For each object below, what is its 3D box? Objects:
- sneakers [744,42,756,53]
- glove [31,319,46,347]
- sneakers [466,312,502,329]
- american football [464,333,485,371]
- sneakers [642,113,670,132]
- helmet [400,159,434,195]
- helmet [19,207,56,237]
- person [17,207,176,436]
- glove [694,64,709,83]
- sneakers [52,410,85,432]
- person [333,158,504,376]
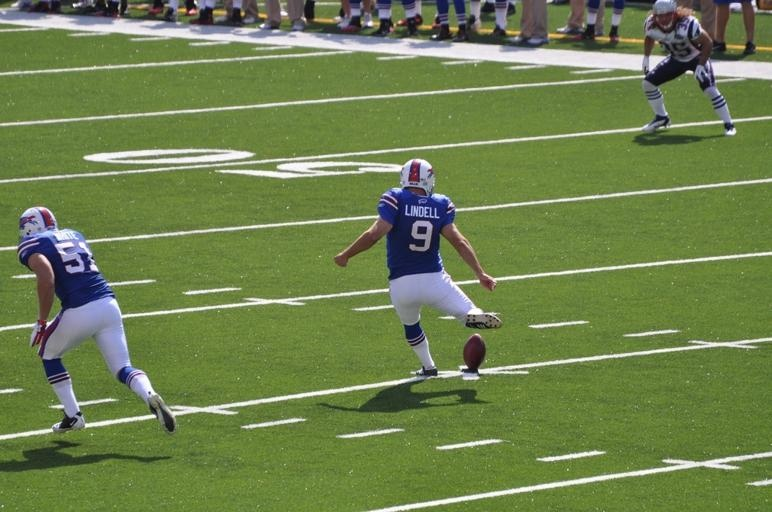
[{"bbox_3d":[6.886,-3.910,27.555,0.197,0.216,0.302,1,10,12],"label":"sneakers"},{"bbox_3d":[-3.544,0.780,14.796,0.182,0.256,0.089,15,3,1],"label":"glove"},{"bbox_3d":[1.046,0.676,15.391,0.437,0.136,0.165,3,8,13],"label":"sneakers"},{"bbox_3d":[0.945,1.029,15.718,0.275,0.359,0.242,4,6,-7],"label":"american football"},{"bbox_3d":[4.292,-2.082,23.060,0.535,0.208,0.183,-18,-7,-13],"label":"sneakers"},{"bbox_3d":[0.354,-0.874,15.799,0.327,0.296,0.408,6,14,10],"label":"helmet"},{"bbox_3d":[-3.623,-0.349,15.086,0.393,0.298,0.283,-1,-3,19],"label":"helmet"},{"bbox_3d":[-3.119,0.660,14.859,1.163,2.231,0.811,-3,10,-7],"label":"person"},{"bbox_3d":[4.809,-2.756,22.247,0.209,0.248,0.113,-14,-6,-36],"label":"glove"},{"bbox_3d":[-3.278,1.690,14.848,0.433,0.184,0.144,-2,-3,15],"label":"sneakers"},{"bbox_3d":[0.389,0.172,15.572,1.460,2.305,0.679,-1,10,3],"label":"person"}]
